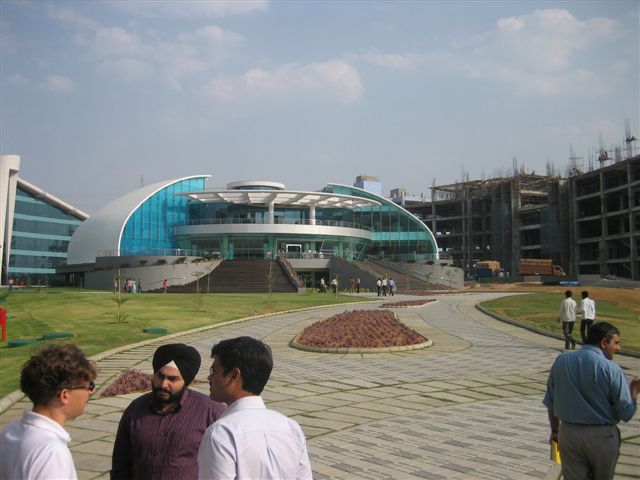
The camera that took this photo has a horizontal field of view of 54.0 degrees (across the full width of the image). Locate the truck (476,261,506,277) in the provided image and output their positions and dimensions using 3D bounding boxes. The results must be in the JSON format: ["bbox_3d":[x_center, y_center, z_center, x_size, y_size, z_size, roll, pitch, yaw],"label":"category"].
[{"bbox_3d":[19.101,3.347,71.945,3.594,1.829,2.325,7,-6,-19],"label":"truck"}]

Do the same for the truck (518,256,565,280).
[{"bbox_3d":[23.395,2.707,64.466,5.828,2.612,1.856,1,-3,1],"label":"truck"}]
